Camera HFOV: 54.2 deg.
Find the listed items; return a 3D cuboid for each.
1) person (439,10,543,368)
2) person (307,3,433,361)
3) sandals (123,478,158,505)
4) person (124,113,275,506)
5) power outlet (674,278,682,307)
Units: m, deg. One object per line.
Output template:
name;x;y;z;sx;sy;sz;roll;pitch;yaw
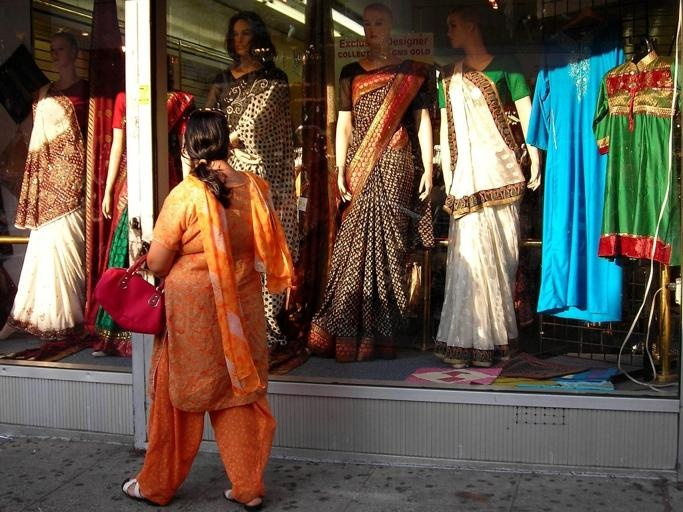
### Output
person;0.783;-0.361;3.612;0.568;1.912;0.261;3;-3;15
person;0.204;-0.405;3.822;0.652;2.012;0.293;3;-3;2
sandals;-0.936;1.063;3.058;0.187;0.055;0.087;24;40;19
person;-0.562;0.244;2.943;0.647;1.755;0.370;4;-3;-8
power outlet;1.621;0.169;3.213;0.030;0.133;0.136;2;-3;26
